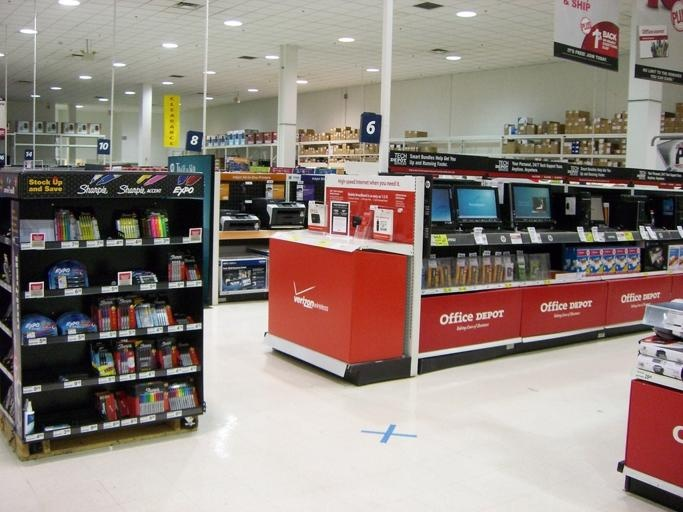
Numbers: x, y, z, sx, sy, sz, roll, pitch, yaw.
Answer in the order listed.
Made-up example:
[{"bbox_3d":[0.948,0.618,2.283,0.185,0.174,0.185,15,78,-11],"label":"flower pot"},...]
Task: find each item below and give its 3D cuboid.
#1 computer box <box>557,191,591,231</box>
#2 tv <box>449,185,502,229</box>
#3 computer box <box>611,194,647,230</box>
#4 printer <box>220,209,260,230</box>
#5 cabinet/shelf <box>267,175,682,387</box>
[{"bbox_3d":[2.733,-0.537,6.342,0.415,0.618,0.343,1,-1,23],"label":"computer box"},{"bbox_3d":[1.398,-0.509,5.707,0.463,0.370,0.067,-1,-5,-33],"label":"tv"},{"bbox_3d":[3.623,-0.549,6.968,0.398,0.591,0.494,1,4,3],"label":"computer box"},{"bbox_3d":[-1.565,-0.540,8.276,0.606,0.316,0.446,-5,9,-11],"label":"printer"},{"bbox_3d":[1.855,0.016,6.381,5.470,2.129,1.442,-7,9,-26],"label":"cabinet/shelf"}]
